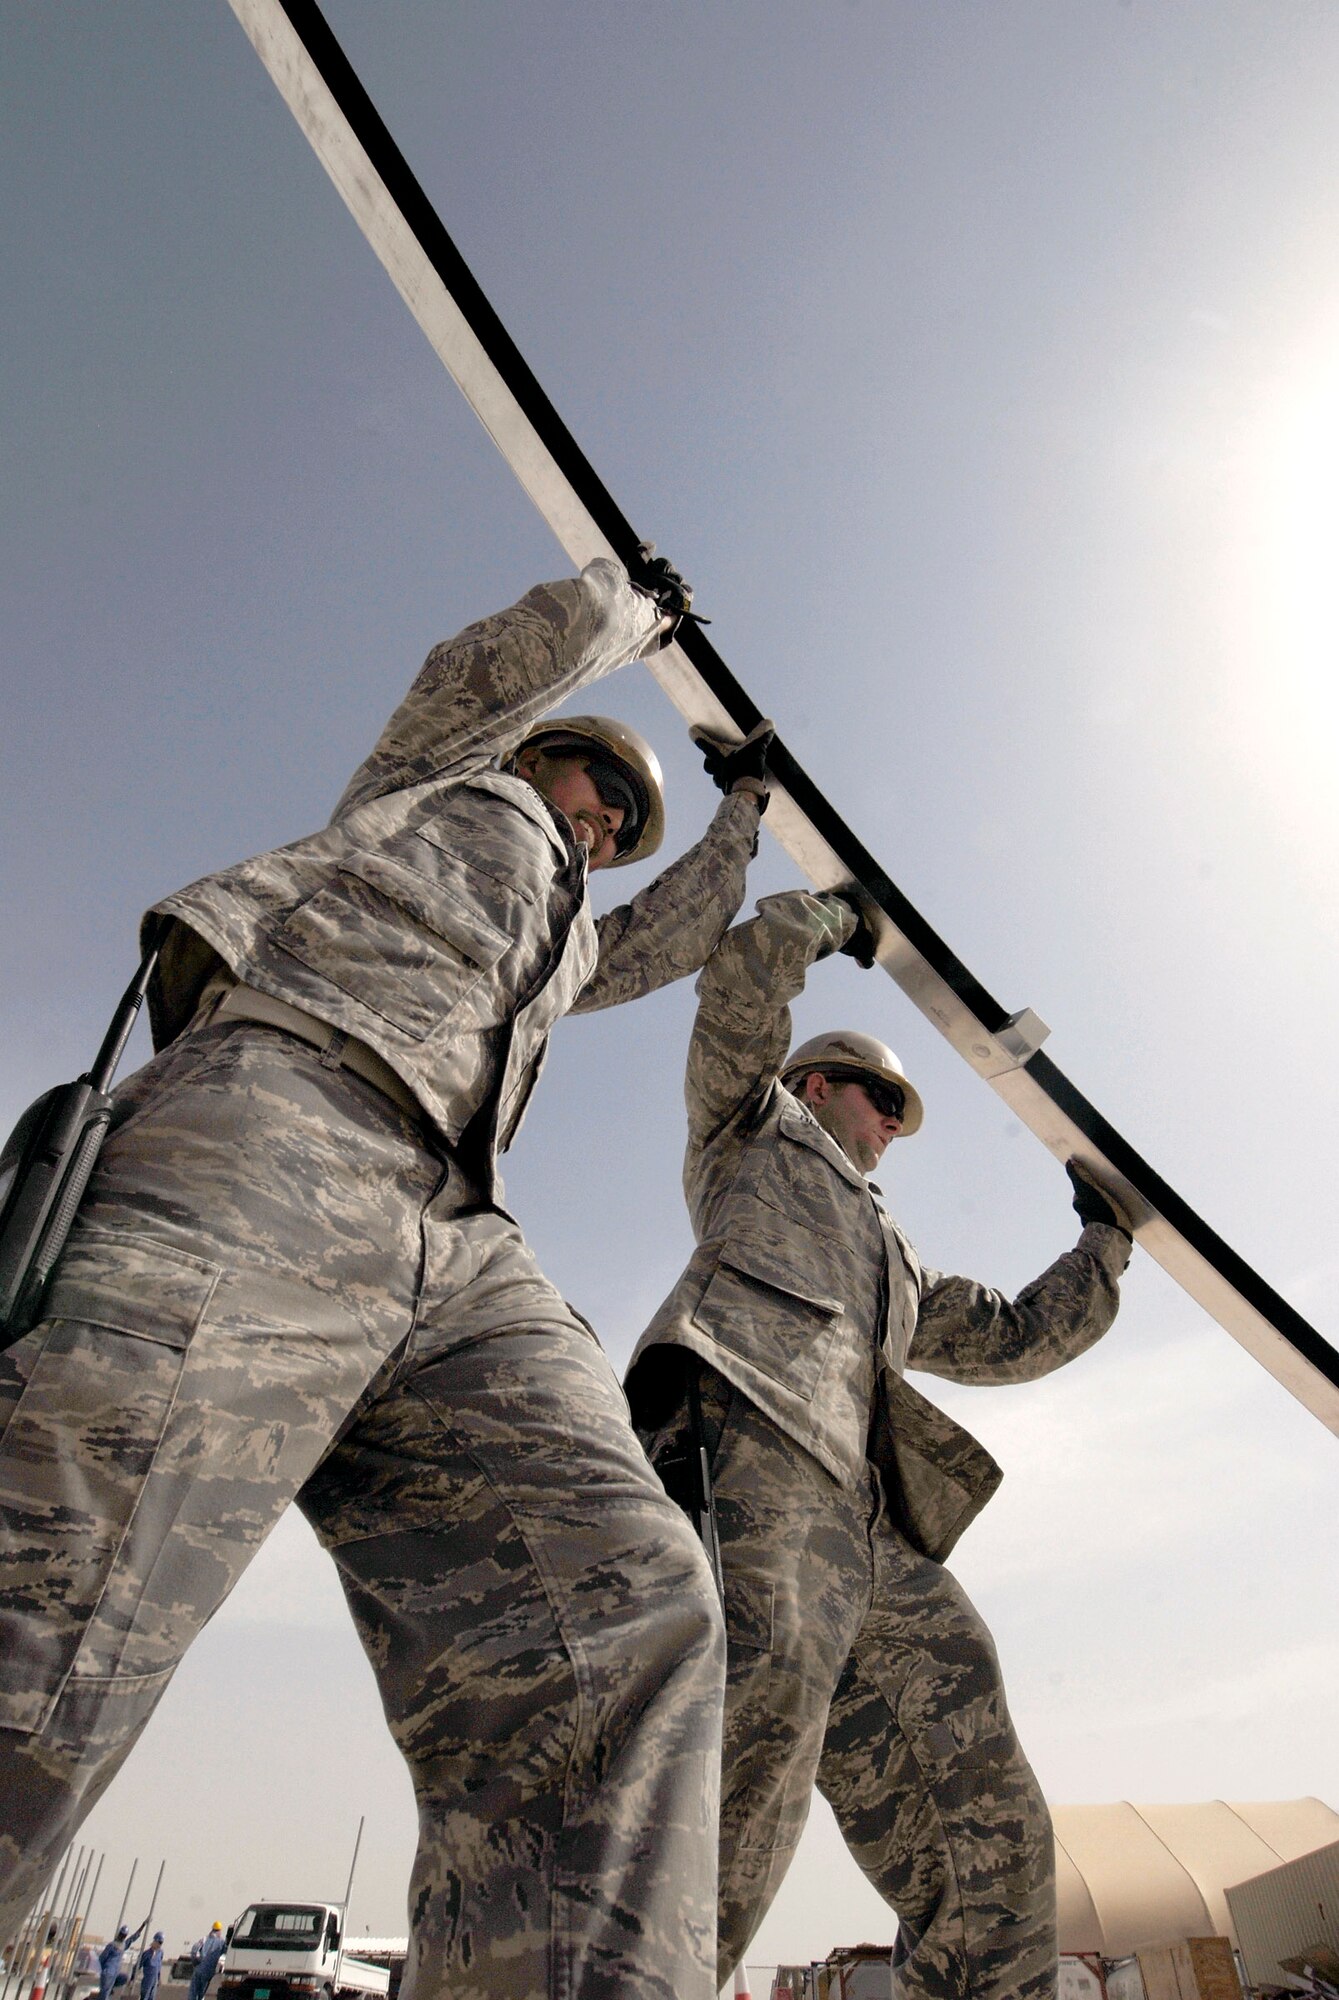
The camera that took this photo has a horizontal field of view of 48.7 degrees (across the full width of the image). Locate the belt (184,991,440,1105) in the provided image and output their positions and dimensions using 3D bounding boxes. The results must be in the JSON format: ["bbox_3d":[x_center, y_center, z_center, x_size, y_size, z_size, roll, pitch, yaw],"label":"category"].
[{"bbox_3d":[-0.532,0.048,2.173,0.245,0.087,0.180,21,-20,36],"label":"belt"}]
